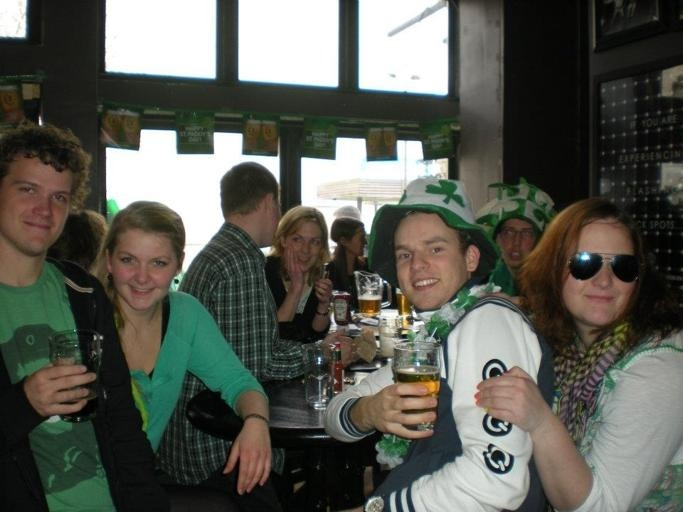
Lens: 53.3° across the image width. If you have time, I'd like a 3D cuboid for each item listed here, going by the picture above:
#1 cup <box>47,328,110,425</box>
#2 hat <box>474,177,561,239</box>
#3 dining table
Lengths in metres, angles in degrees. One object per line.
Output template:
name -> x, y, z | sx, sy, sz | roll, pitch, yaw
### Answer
cup -> -1.001, 0.467, 2.639 | 0.165, 0.385, 0.275 | -1, 3, -2
hat -> 1.113, -0.314, 4.452 | 0.503, 0.344, 0.333 | 4, 14, 42
dining table -> -0.255, 0.895, 3.283 | 1.101, 0.747, 1.023 | -1, 16, -10
